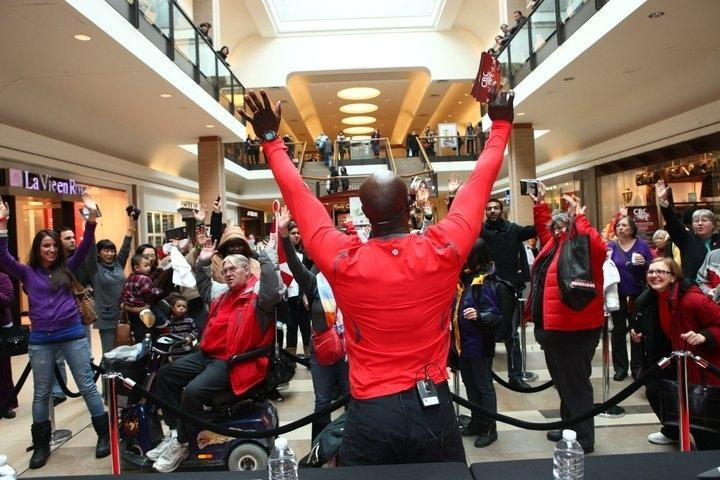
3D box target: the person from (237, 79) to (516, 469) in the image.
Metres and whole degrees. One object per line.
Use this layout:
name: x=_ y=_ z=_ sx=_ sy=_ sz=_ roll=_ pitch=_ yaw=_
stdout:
person: x=0.201 y=0.218 z=2.930 sx=1.532 sy=2.208 sz=0.381 roll=-1 pitch=-3 yaw=-11

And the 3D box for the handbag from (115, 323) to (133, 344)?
handbag: x=-2.618 y=1.057 z=5.456 sx=0.192 sy=0.256 sz=0.191 roll=1 pitch=-8 yaw=-1

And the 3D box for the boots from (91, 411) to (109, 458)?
boots: x=-2.632 y=1.994 z=5.001 sx=0.138 sy=0.424 sz=0.155 roll=0 pitch=-3 yaw=-34

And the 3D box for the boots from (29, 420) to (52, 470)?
boots: x=-3.238 y=2.062 z=4.943 sx=0.165 sy=0.347 sz=0.426 roll=1 pitch=-1 yaw=-23

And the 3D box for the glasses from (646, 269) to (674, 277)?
glasses: x=3.053 y=0.330 z=4.972 sx=0.223 sy=0.067 sz=0.089 roll=-3 pitch=-2 yaw=26

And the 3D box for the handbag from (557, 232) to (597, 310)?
handbag: x=1.988 y=0.277 z=4.530 sx=0.304 sy=0.746 sz=0.118 roll=-3 pitch=-3 yaw=24
